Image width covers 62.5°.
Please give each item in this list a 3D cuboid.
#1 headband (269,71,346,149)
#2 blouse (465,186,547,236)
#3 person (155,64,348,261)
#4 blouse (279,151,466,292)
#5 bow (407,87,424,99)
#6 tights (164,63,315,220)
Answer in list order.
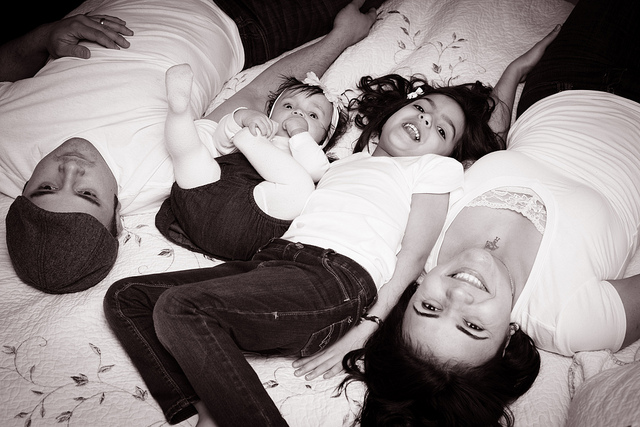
[{"bbox_3d":[-0.023,-0.491,2.415,0.332,0.335,0.253,-23,42,-31],"label":"headband"},{"bbox_3d":[0.717,-0.007,1.931,0.276,0.162,0.025,17,-5,23],"label":"blouse"},{"bbox_3d":[-0.219,-0.269,2.245,0.520,0.667,0.920,21,39,19],"label":"person"},{"bbox_3d":[0.166,-0.018,1.911,0.541,0.170,0.568,18,54,25],"label":"blouse"},{"bbox_3d":[0.405,-0.517,2.261,0.049,0.014,0.049,12,49,48],"label":"bow"},{"bbox_3d":[-0.322,-0.239,1.944,0.706,0.657,0.410,-4,15,-1],"label":"tights"}]
